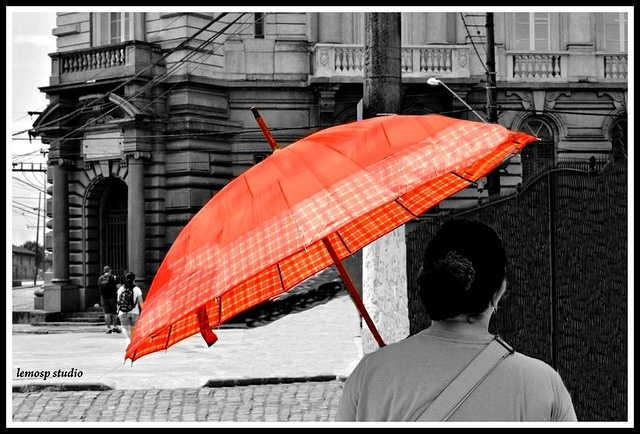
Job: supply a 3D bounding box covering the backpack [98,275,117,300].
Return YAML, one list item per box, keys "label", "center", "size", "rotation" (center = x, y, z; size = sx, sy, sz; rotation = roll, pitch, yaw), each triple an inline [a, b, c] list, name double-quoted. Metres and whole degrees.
- label: "backpack"
  center: [-6.572, 2.144, 42.989]
  size: [0.388, 0.721, 0.696]
  rotation: [-9, 3, 4]

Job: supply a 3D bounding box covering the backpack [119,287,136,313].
- label: "backpack"
  center: [-5.396, 2.344, 38.929]
  size: [0.456, 0.574, 0.627]
  rotation: [-1, -6, -1]

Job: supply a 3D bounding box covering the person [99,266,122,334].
- label: "person"
  center: [-6.482, 2.524, 42.959]
  size: [0.753, 2.159, 0.639]
  rotation: [1, 7, 6]
